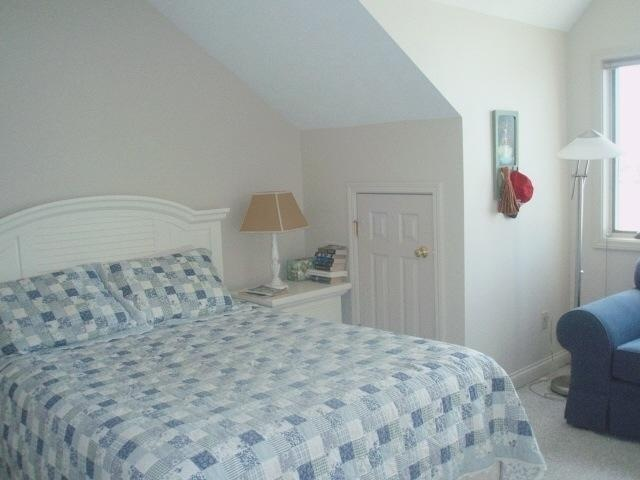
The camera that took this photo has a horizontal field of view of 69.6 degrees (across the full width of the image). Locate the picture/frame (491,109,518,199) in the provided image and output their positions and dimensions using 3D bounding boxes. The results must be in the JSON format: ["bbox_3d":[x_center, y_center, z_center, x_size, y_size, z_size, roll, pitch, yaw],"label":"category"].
[{"bbox_3d":[1.365,-0.624,3.376,0.335,0.633,0.111,-10,12,-43],"label":"picture/frame"}]

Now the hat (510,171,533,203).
[{"bbox_3d":[1.466,-0.382,3.342,0.173,0.217,0.049,-15,6,-3],"label":"hat"}]

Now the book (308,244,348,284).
[{"bbox_3d":[0.061,0.184,3.852,0.290,0.319,0.315,-2,3,-42],"label":"book"}]
